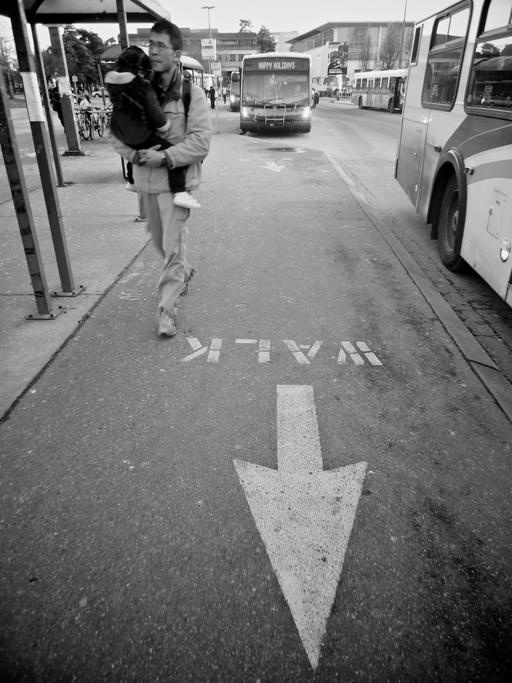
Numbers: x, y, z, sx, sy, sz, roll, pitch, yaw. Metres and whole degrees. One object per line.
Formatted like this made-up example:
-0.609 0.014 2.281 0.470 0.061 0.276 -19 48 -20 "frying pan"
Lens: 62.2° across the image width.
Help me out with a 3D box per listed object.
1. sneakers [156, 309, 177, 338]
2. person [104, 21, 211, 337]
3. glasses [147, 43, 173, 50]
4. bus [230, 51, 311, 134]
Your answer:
-0.792 -0.146 3.788 0.108 0.280 0.230 2 12 7 "sneakers"
-0.736 -1.225 3.536 0.806 2.369 0.566 -11 24 -23 "person"
-0.681 -2.126 3.060 0.138 0.045 0.052 -9 29 -12 "glasses"
0.882 -11.384 19.655 3.257 3.246 2.188 -1 25 0 "bus"
